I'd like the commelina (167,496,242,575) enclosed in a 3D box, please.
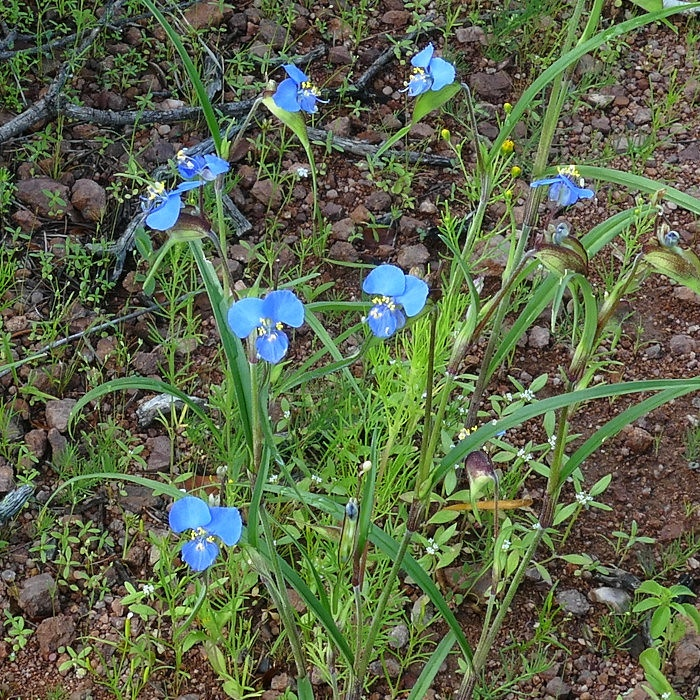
[{"bbox_3d":[-0.277,0.364,1.419,0.142,0.055,0.154,4,92,22],"label":"commelina"}]

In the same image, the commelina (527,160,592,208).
[{"bbox_3d":[0.473,-0.363,1.625,0.137,0.144,0.106,-2,49,21],"label":"commelina"}]

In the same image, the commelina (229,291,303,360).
[{"bbox_3d":[-0.155,-0.061,1.336,0.126,0.133,0.049,-16,12,-7],"label":"commelina"}]

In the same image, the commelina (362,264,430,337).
[{"bbox_3d":[0.089,-0.098,1.429,0.120,0.165,0.146,13,54,7],"label":"commelina"}]
